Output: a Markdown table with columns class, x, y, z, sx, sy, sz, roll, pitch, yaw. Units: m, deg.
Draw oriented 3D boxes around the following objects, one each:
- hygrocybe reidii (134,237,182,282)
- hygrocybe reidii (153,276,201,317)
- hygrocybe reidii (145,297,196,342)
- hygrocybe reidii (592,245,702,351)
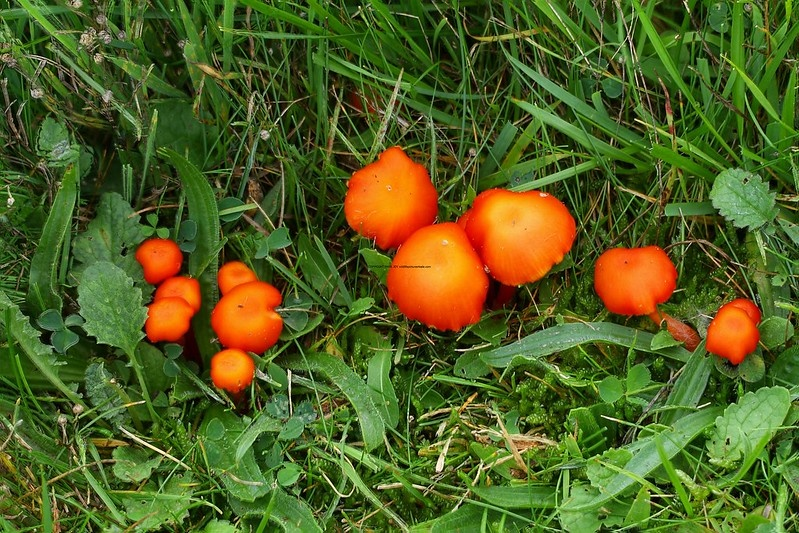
| class | x | y | z | sx | sy | sz | roll | pitch | yaw |
| --- | --- | --- | --- | --- | --- | --- | --- | --- | --- |
| hygrocybe reidii | -1.295 | -0.051 | 3.797 | 0.211 | 0.226 | 0.240 | -22 | 102 | -6 |
| hygrocybe reidii | -1.192 | 0.123 | 3.721 | 0.178 | 0.202 | 0.221 | 6 | 103 | 1 |
| hygrocybe reidii | -1.211 | 0.273 | 3.623 | 0.233 | 0.095 | 0.234 | 5 | 79 | 3 |
| hygrocybe reidii | 1.329 | 0.123 | 3.671 | 0.613 | 0.259 | 0.386 | 24 | 80 | 7 |
